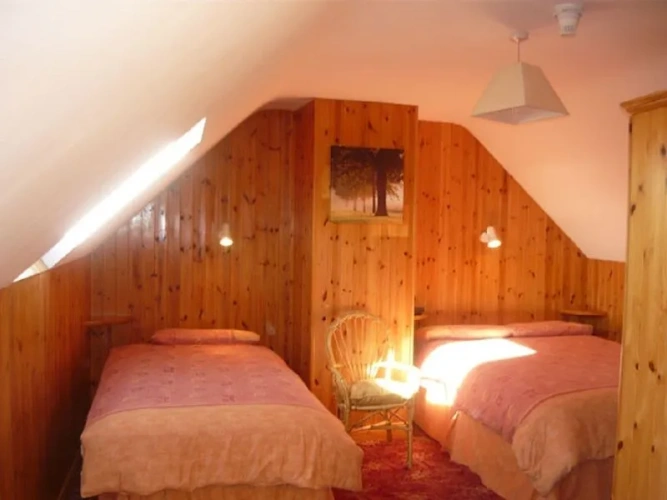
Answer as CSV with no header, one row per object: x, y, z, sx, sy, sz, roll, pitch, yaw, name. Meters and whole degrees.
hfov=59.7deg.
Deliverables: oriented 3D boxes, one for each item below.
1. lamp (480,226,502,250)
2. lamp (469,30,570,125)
1.607,-0.141,5.823,0.263,0.218,0.182,2,-7,-5,lamp
1.051,-0.887,3.272,0.412,0.270,0.356,5,-8,-28,lamp
